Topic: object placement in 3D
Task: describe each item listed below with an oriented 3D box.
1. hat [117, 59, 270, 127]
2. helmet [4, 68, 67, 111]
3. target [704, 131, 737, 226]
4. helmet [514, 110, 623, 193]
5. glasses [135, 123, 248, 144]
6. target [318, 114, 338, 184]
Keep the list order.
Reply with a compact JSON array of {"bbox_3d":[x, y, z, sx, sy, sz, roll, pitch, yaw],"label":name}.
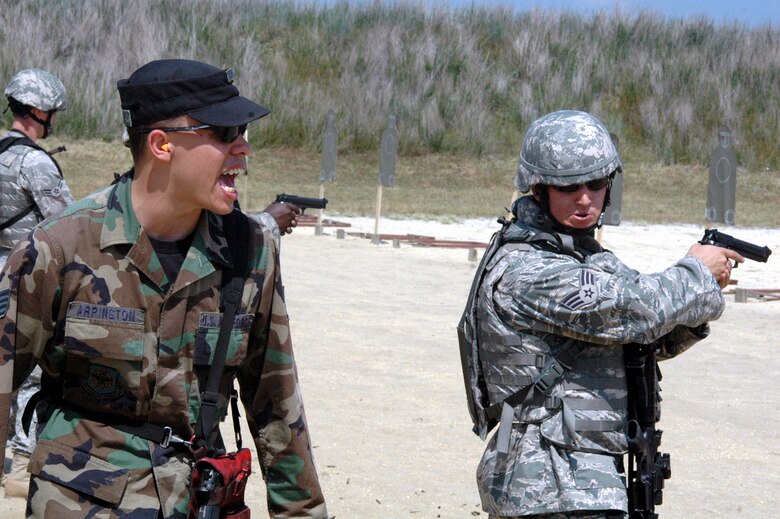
[{"bbox_3d":[-1.071,-0.881,5.943,0.797,0.380,0.289,1,11,-8],"label":"hat"},{"bbox_3d":[-2.876,-1.393,8.939,0.414,0.280,0.324,-8,23,-37],"label":"helmet"},{"bbox_3d":[5.624,-1.441,18.657,0.469,1.850,0.203,5,-3,-2],"label":"target"},{"bbox_3d":[1.041,-0.661,6.559,0.505,0.341,0.512,-10,23,-24],"label":"helmet"},{"bbox_3d":[-1.083,-0.690,5.928,0.599,0.095,0.133,2,12,-6],"label":"glasses"},{"bbox_3d":[-1.292,-2.359,23.317,0.382,1.873,0.016,-1,44,-9],"label":"target"}]
